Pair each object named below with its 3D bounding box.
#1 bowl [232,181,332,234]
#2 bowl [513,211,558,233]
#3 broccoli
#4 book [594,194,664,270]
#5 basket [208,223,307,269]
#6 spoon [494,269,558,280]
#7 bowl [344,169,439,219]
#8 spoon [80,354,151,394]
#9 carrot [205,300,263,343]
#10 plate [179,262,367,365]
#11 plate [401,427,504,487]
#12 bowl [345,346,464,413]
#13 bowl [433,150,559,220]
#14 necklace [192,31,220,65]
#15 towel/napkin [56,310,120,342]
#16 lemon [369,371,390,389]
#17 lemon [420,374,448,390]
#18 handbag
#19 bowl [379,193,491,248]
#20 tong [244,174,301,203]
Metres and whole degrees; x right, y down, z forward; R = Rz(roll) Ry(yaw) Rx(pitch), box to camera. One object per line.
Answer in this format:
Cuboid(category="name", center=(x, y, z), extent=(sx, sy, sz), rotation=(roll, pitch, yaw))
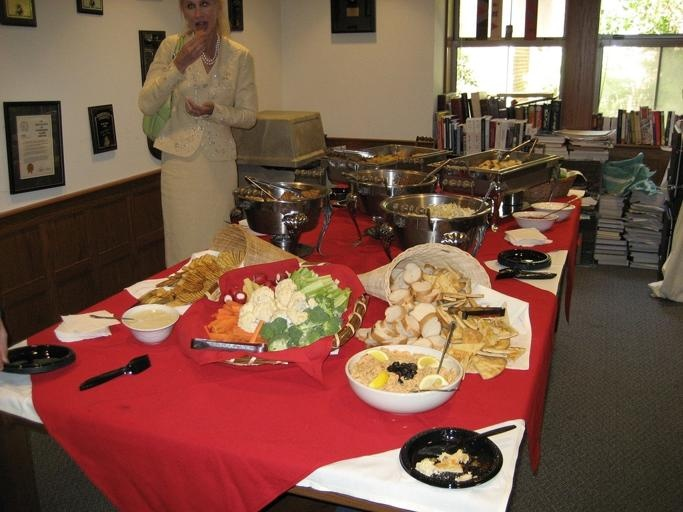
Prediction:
Cuboid(category="bowl", center=(-0.273, -0.221, 2.036), extent=(0.338, 0.118, 0.303), rotation=(3, 17, 2))
Cuboid(category="bowl", center=(1.074, -0.201, 2.503), extent=(0.162, 0.057, 0.155), rotation=(2, 14, 0))
Cuboid(category="broccoli", center=(-0.117, 0.145, 1.246), extent=(0.239, 0.092, 0.220), rotation=(0, 41, 11))
Cuboid(category="book", center=(2.953, -0.283, 4.719), extent=(0.606, 0.759, 0.286), rotation=(6, 20, 23))
Cuboid(category="basket", center=(-0.365, -0.066, 1.765), extent=(0.290, 0.078, 0.200), rotation=(24, 19, 27))
Cuboid(category="spoon", center=(0.755, 0.074, 1.872), extent=(0.247, 0.040, 0.082), rotation=(1, 20, 6))
Cuboid(category="bowl", center=(0.301, -0.346, 2.531), extent=(0.520, 0.182, 0.505), rotation=(4, 4, 0))
Cuboid(category="spoon", center=(-0.607, 0.316, 1.240), extent=(0.186, 0.034, 0.056), rotation=(-15, 55, -30))
Cuboid(category="carrot", center=(-0.307, 0.189, 1.285), extent=(0.124, 0.041, 0.112), rotation=(4, 42, -3))
Cuboid(category="plate", center=(-0.185, 0.184, 1.313), extent=(0.360, 0.092, 0.380), rotation=(15, 33, 30))
Cuboid(category="plate", center=(0.225, 0.408, 0.939), extent=(0.205, 0.041, 0.144), rotation=(0, 16, 4))
Cuboid(category="bowl", center=(0.157, 0.303, 1.160), extent=(0.284, 0.087, 0.248), rotation=(-2, 16, -2))
Cuboid(category="bowl", center=(0.999, -0.499, 2.951), extent=(0.690, 0.304, 0.524), rotation=(-22, 28, -36))
Cuboid(category="necklace", center=(-0.797, -1.250, 2.772), extent=(0.139, 0.172, 0.055), rotation=(2, 19, 0))
Cuboid(category="towel/napkin", center=(-0.813, 0.219, 1.467), extent=(0.117, 0.036, 0.119), rotation=(17, 24, 34))
Cuboid(category="lemon", center=(0.093, 0.298, 1.101), extent=(0.025, 0.014, 0.046), rotation=(24, 36, 23))
Cuboid(category="lemon", center=(0.219, 0.298, 1.081), extent=(0.066, 0.024, 0.079), rotation=(2, 17, 9))
Cuboid(category="handbag", center=(-1.093, -1.009, 2.820), extent=(0.174, 0.521, 0.402), rotation=(10, 14, -43))
Cuboid(category="bowl", center=(0.401, -0.108, 2.054), extent=(0.455, 0.250, 0.497), rotation=(6, 3, 0))
Cuboid(category="tong", center=(-0.302, -0.308, 2.152), extent=(0.215, 0.052, 0.171), rotation=(5, 15, 16))
